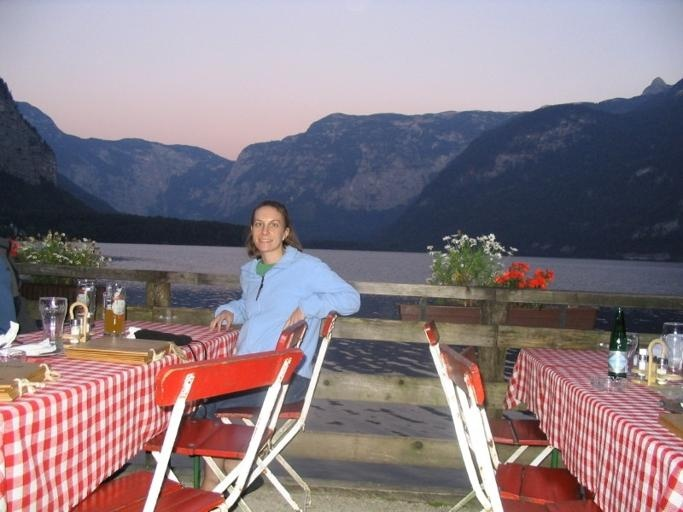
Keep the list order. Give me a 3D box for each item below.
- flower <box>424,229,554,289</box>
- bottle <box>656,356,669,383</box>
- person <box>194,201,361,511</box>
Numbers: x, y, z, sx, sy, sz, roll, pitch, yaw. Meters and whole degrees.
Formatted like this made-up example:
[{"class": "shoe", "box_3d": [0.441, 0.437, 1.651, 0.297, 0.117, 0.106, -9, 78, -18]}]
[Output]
[{"class": "flower", "box_3d": [2.409, 0.141, 10.374, 2.042, 1.213, 1.560, 4, 1, 12]}, {"class": "bottle", "box_3d": [1.574, 0.565, 3.080, 0.029, 0.117, 0.069, 12, -10, -43]}, {"class": "person", "box_3d": [-0.447, 0.611, 3.910, 1.030, 1.704, 0.954, 5, -6, -7]}]
